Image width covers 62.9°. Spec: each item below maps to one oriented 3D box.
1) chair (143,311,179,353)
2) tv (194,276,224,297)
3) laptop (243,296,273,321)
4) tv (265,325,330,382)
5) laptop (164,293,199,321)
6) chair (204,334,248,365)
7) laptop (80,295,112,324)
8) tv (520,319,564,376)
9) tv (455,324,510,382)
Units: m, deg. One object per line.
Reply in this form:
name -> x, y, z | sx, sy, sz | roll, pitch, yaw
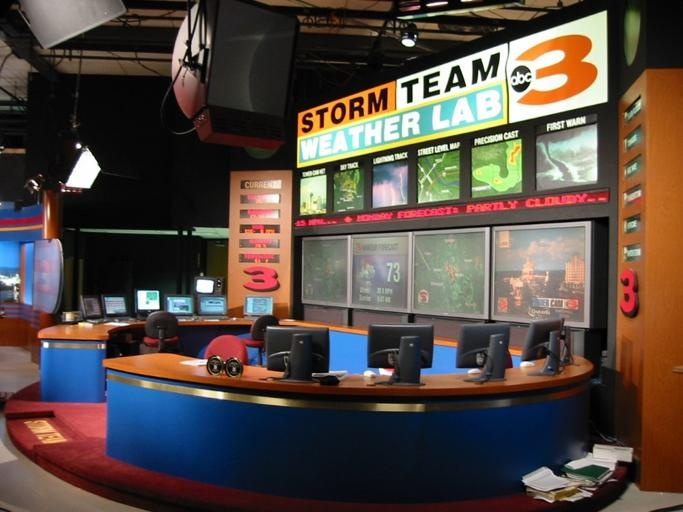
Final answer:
chair -> -2.550, 1.136, 7.818 | 0.483, 0.579, 0.610 | 3, -15, -26
tv -> -2.259, 0.510, 9.489 | 0.498, 0.333, 0.299 | 1, -5, -15
laptop -> -1.405, 0.831, 9.326 | 0.560, 0.428, 0.304 | 1, -17, -7
tv -> -0.382, 0.763, 4.863 | 0.762, 0.610, 0.387 | 1, 0, -3
laptop -> -2.665, 0.816, 9.258 | 0.635, 0.504, 0.333 | 4, -13, -28
chair -> -1.160, 0.957, 5.588 | 0.401, 0.204, 0.499 | 1, 11, -13
laptop -> -3.728, 0.801, 8.396 | 0.389, 0.411, 0.509 | 2, 3, -40
tv -> 1.937, 0.893, 5.353 | 0.535, 0.517, 0.285 | 3, -4, -33
tv -> 1.257, 0.861, 4.961 | 0.581, 0.530, 0.340 | 0, 1, -11
